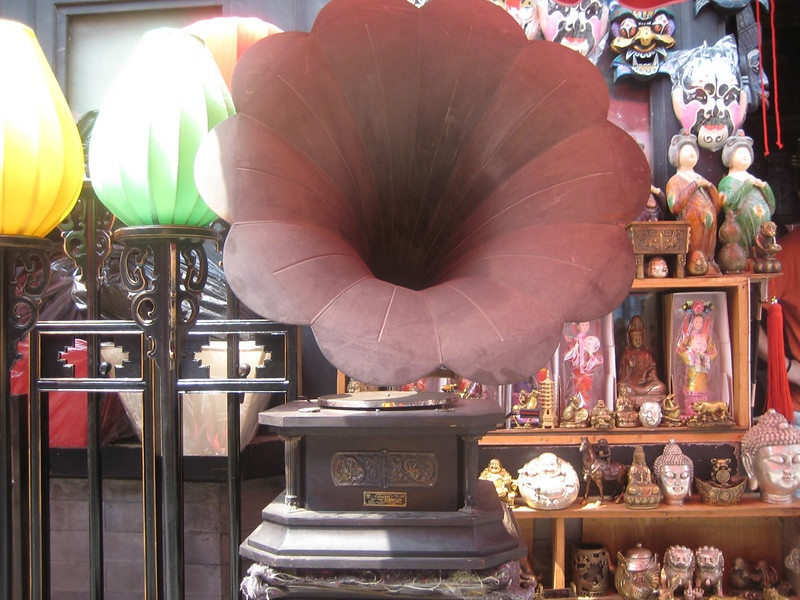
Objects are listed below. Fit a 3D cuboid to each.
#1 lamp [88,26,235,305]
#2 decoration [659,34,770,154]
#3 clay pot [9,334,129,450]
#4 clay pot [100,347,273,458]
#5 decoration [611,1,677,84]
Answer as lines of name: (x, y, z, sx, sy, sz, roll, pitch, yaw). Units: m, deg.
lamp: (-0.783, -0.562, 3.862, 0.462, 0.707, 0.462, -1, -2, 30)
decoration: (1.378, -0.930, 4.798, 0.478, 0.502, 0.194, -4, 4, -9)
clay pot: (-1.401, 0.418, 4.499, 0.443, 0.291, 0.473, 3, 5, 0)
clay pot: (-0.876, 0.440, 4.498, 0.600, 0.441, 0.510, -1, -1, 12)
decoration: (1.065, -1.139, 4.712, 0.317, 0.469, 0.145, -1, 2, -6)
